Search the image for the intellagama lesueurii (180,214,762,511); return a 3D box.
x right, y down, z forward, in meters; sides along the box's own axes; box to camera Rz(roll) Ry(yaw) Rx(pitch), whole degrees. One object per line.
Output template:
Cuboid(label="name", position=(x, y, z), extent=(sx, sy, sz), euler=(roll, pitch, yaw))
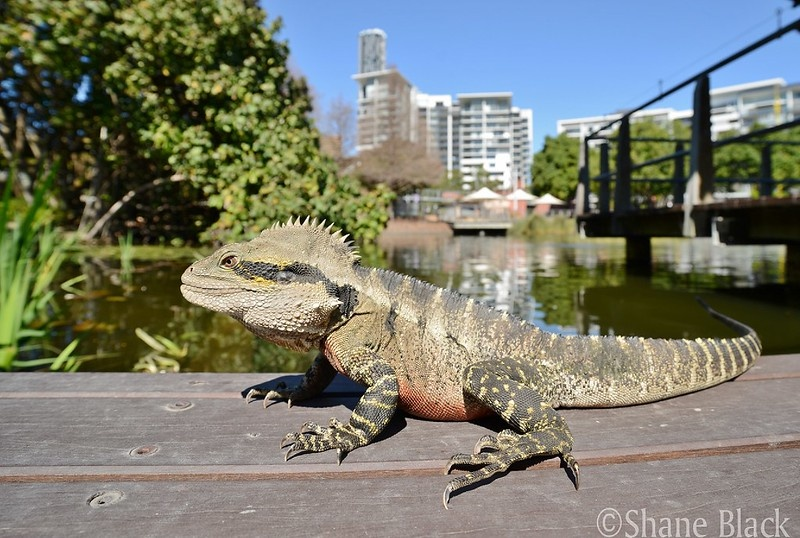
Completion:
Cuboid(label="intellagama lesueurii", position=(1.212, 0.617, 6.899), extent=(6.637, 2.134, 3.369), euler=(-1, 6, -15))

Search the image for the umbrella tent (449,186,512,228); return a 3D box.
Cuboid(label="umbrella tent", position=(5.271, -4.126, 46.302), extent=(4.797, 2.342, 6.738), euler=(-1, 8, 7))
